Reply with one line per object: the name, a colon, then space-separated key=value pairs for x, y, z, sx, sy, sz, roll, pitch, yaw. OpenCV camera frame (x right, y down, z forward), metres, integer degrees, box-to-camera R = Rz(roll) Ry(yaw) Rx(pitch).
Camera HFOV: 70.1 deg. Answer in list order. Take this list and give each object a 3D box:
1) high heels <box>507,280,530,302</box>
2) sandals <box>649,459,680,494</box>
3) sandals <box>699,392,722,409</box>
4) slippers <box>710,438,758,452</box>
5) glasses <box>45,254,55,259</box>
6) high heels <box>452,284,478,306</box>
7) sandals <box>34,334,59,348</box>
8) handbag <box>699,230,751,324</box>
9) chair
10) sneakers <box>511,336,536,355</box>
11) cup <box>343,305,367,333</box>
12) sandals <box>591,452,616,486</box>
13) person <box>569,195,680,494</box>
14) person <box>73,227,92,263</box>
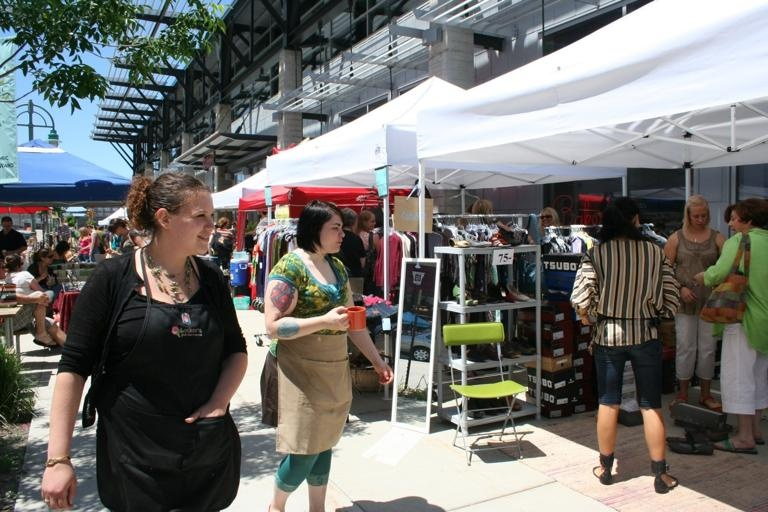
high heels: x=1.486 y=0.474 z=6.149 sx=0.116 sy=0.155 sz=0.338 roll=6 pitch=0 yaw=-38
sandals: x=2.508 y=1.868 z=4.920 sx=0.289 sy=0.260 sz=0.129 roll=-2 pitch=-3 yaw=-37
sandals: x=3.693 y=1.608 z=6.235 sx=0.130 sy=0.096 sz=0.247 roll=-5 pitch=-3 yaw=-12
slippers: x=3.491 y=1.785 z=5.451 sx=0.321 sy=0.092 sz=0.150 roll=1 pitch=-3 yaw=31
glasses: x=-5.628 y=0.151 z=9.264 sx=0.159 sy=0.047 sz=0.153 roll=2 pitch=4 yaw=29
high heels: x=0.850 y=0.479 z=5.930 sx=0.162 sy=0.090 sz=0.258 roll=-1 pitch=2 yaw=-31
sandals: x=-5.033 y=1.335 z=8.387 sx=0.484 sy=0.120 sz=0.171 roll=2 pitch=5 yaw=-17
handbag: x=3.371 y=0.292 z=5.373 sx=0.421 sy=0.804 sz=0.215 roll=-2 pitch=10 yaw=-8
chair: x=1.026 y=1.279 z=5.763 sx=0.808 sy=1.174 sz=1.170 roll=0 pitch=9 yaw=6
sneakers: x=1.576 y=1.038 z=6.234 sx=0.252 sy=0.095 sz=0.150 roll=-1 pitch=2 yaw=42
cup: x=-0.206 y=0.470 z=3.964 sx=0.107 sy=0.118 sz=0.172 roll=-3 pitch=4 yaw=-8
sandals: x=1.976 y=1.851 z=4.963 sx=0.143 sy=0.223 sz=0.287 roll=0 pitch=5 yaw=-1
person: x=2.185 y=0.813 z=4.977 sx=0.946 sy=2.271 sz=0.572 roll=2 pitch=10 yaw=18
person: x=-9.588 y=0.201 z=17.532 sx=0.522 sy=1.480 sz=0.405 roll=-4 pitch=13 yaw=-27
